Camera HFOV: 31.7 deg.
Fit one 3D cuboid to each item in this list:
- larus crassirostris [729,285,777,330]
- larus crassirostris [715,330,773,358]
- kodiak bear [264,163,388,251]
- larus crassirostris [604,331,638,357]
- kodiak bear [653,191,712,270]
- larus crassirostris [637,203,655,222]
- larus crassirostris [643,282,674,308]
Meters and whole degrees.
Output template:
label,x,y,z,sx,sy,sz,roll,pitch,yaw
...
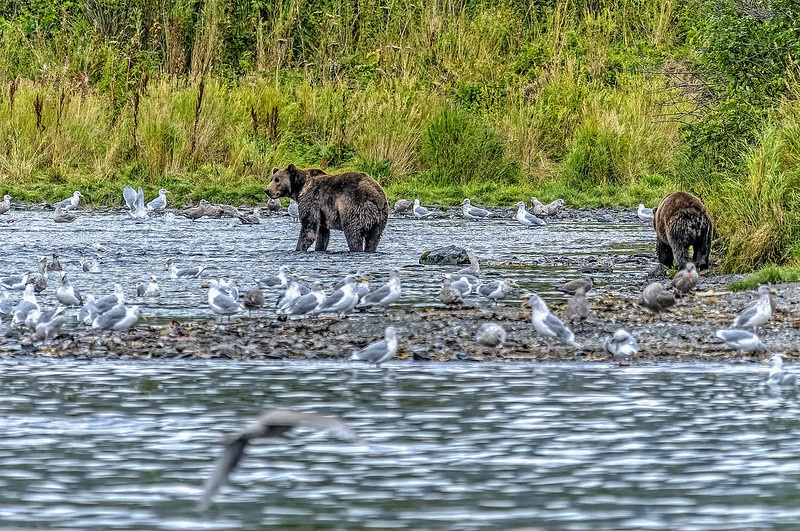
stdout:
label,x,y,z,sx,sy,sz,roll,pitch,yaw
larus crassirostris,4.098,0.556,16.407,0.397,0.492,0.690,-6,-7,-40
larus crassirostris,3.779,0.843,15.726,0.579,0.285,0.235,33,-4,2
kodiak bear,-1.222,-0.896,24.044,2.673,1.291,0.945,9,11,40
larus crassirostris,2.421,0.896,15.607,0.274,0.222,0.356,-24,-31,17
kodiak bear,4.172,-0.566,21.284,0.634,0.812,1.361,-5,9,-4
larus crassirostris,4.990,-1.044,28.549,0.378,0.249,0.465,3,10,-15
larus crassirostris,3.198,0.426,17.433,0.334,0.335,0.522,-1,15,-4
